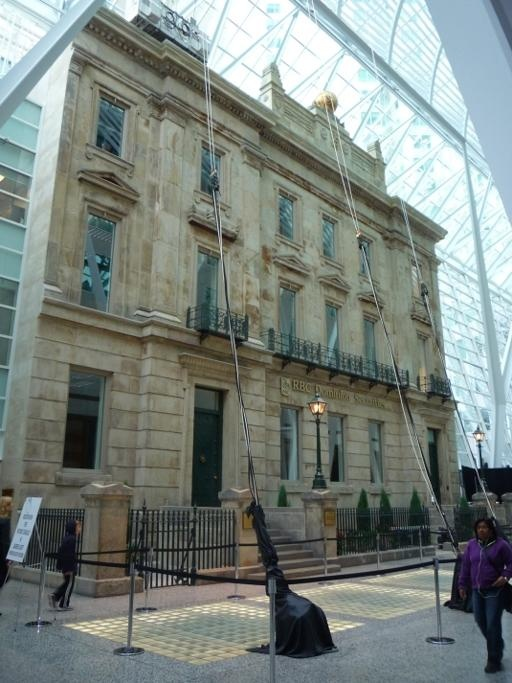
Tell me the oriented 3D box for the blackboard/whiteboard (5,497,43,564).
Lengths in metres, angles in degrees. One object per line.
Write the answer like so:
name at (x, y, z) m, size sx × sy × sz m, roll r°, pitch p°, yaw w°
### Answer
blackboard/whiteboard at (-3.638, 2.962, 8.302) m, size 0.388 × 0.988 × 0.758 m, roll 6°, pitch -17°, yaw -23°
